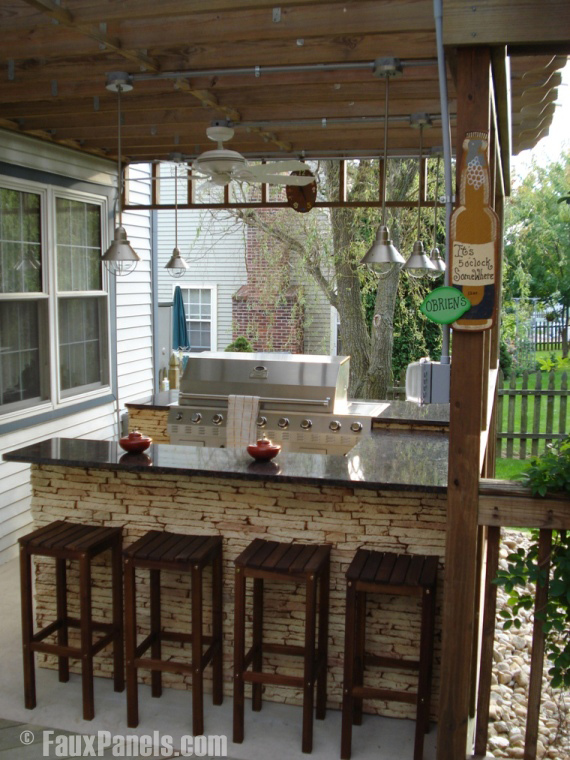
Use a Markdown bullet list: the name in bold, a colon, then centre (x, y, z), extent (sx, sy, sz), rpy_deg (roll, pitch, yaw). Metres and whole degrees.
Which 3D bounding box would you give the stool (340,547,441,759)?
- **stool**: centre (0.418, 1.094, 2.761), extent (0.346, 0.750, 0.481), rpy_deg (3, 4, 13)

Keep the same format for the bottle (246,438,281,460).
- **bottle**: centre (-0.092, 0.328, 3.261), extent (0.113, 0.090, 0.113), rpy_deg (1, 5, 0)

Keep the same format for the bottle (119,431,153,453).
- **bottle**: centre (-0.725, 0.297, 3.420), extent (0.118, 0.080, 0.118), rpy_deg (1, 3, 0)

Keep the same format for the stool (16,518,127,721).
- **stool**: centre (-0.956, 1.049, 3.106), extent (0.409, 0.754, 0.414), rpy_deg (3, 4, 13)

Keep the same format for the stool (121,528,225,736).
- **stool**: centre (-0.488, 1.064, 2.997), extent (0.438, 0.764, 0.592), rpy_deg (2, 4, 1)

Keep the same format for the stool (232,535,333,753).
- **stool**: centre (-0.008, 1.075, 2.901), extent (0.384, 0.764, 0.544), rpy_deg (2, 4, 4)

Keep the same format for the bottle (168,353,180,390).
- **bottle**: centre (-1.313, -0.110, 8.226), extent (0.132, 0.421, 0.243), rpy_deg (1, 4, -9)
